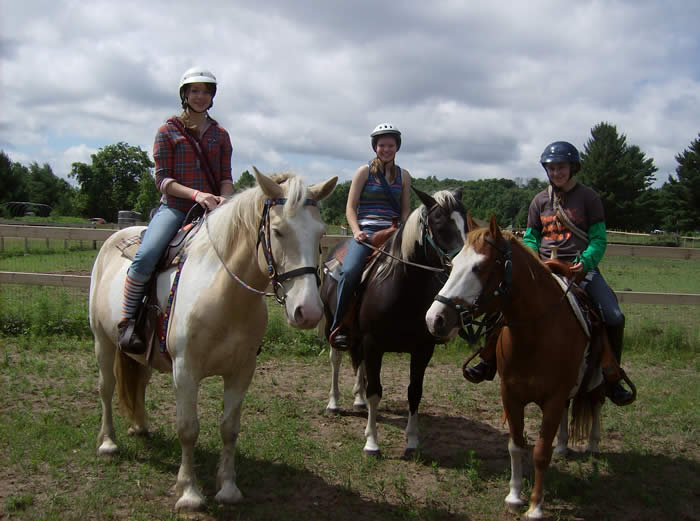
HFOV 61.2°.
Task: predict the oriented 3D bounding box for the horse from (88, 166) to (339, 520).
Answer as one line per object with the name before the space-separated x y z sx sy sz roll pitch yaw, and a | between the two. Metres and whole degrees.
horse | -1.803 0.884 6.734 4.078 3.437 1.351 -1 -1 43

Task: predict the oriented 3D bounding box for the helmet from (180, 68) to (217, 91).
helmet | -1.692 -2.025 6.559 0.361 0.217 0.446 -2 13 -17

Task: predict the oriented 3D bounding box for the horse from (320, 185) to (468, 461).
horse | 0.466 0.866 8.138 1.035 3.387 4.280 3 3 -15

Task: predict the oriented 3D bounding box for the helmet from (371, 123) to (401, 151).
helmet | 0.469 -1.606 7.728 0.348 0.300 0.399 1 12 -3

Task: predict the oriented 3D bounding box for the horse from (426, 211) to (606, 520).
horse | 1.887 1.043 6.248 2.308 3.040 0.947 -6 13 -33

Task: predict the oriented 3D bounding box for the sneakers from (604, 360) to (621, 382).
sneakers | 2.937 1.236 6.658 0.144 0.227 0.211 -22 7 2
